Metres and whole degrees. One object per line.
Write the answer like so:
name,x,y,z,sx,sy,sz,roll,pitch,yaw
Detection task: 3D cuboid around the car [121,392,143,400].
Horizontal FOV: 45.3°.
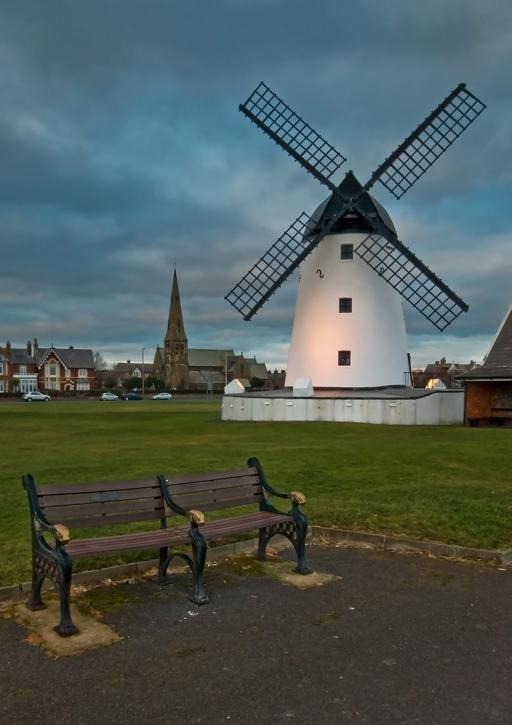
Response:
car,-18.628,5.227,92.495,1.436,1.207,2.461,-5,-9,32

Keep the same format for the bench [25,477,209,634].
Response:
bench,-1.410,1.697,6.025,1.551,1.199,1.247,0,1,-41

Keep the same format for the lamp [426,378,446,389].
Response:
lamp,10.253,1.308,34.921,1.085,0.723,1.015,1,-3,-27

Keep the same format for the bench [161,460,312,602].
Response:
bench,-0.288,1.843,6.965,0.828,1.206,1.795,-3,-5,42

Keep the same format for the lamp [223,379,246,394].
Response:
lamp,-1.365,1.611,38.025,0.858,0.719,1.223,-1,-1,13

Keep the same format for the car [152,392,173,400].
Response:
car,-13.991,4.980,91.393,2.283,1.069,1.397,3,-6,-7

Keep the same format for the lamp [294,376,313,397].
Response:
lamp,2.360,1.299,31.118,0.837,0.947,0.882,-3,-10,32

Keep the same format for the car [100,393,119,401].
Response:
car,-20.735,5.106,86.044,2.131,1.070,1.394,-3,2,-9

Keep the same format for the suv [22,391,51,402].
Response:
suv,-27.142,4.295,75.563,2.762,1.076,4.093,0,1,-15
